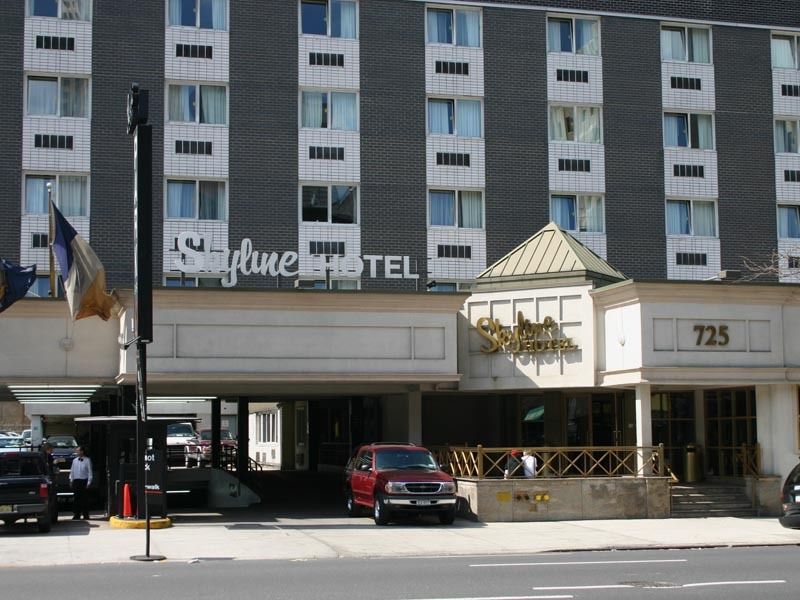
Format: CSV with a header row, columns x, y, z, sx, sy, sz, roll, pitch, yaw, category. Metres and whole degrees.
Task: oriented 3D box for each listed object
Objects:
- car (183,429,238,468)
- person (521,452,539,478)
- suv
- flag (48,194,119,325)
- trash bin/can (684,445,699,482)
x,y,z,sx,sy,sz,roll,pitch,yaw,category
-8.822,6.976,71.031,1.479,1.326,3.019,3,-12,-21,car
4.316,5.561,51.558,0.459,0.858,1.245,-1,-5,2,person
-0.103,6.046,49.985,2.281,2.662,3.713,3,-6,-38,suv
-10.541,-1.334,51.139,1.734,4.046,2.082,-6,-6,44,flag
10.641,6.015,56.239,0.298,1.343,0.686,0,-5,-11,trash bin/can
